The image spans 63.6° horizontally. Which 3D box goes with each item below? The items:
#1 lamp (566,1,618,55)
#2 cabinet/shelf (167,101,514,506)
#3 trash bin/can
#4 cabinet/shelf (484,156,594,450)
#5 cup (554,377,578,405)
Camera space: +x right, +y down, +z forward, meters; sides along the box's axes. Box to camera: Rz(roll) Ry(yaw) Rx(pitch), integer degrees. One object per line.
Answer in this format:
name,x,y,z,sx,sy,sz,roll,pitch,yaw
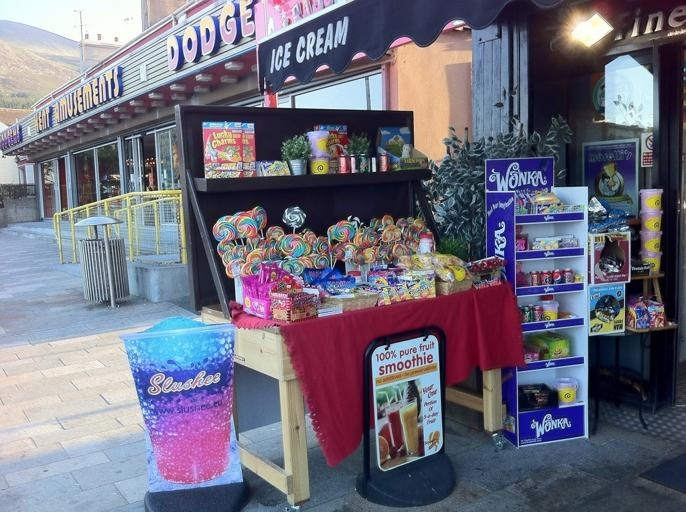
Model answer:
lamp,2.194,-1.928,4.802,0.329,0.312,0.083,-33,15,32
cabinet/shelf,0.119,0.257,4.092,2.242,2.692,1.194,-7,11,-29
trash bin/can,-3.990,0.095,9.101,0.817,1.557,0.706,-8,16,-42
cabinet/shelf,1.601,0.339,4.486,0.722,2.176,0.476,-3,4,-16
cup,1.811,1.084,4.438,0.157,0.171,0.195,-1,0,3
